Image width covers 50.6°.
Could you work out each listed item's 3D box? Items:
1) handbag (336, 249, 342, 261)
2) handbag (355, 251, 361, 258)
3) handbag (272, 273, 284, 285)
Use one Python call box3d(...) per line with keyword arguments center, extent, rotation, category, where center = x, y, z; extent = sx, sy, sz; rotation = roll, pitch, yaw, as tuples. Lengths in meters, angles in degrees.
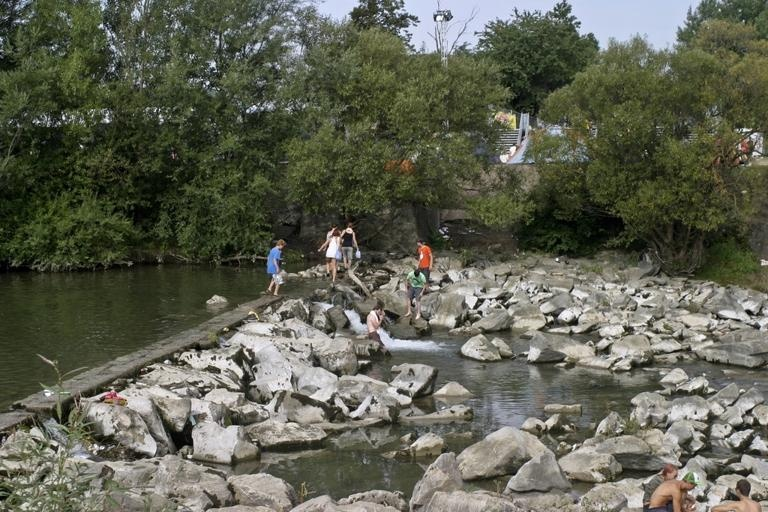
box3d(center=(-2.300, -0.157, 41.158), extent=(0.301, 0.793, 0.612), rotation=(2, 1, 4), category="handbag")
box3d(center=(-1.408, -0.143, 44.165), extent=(0.377, 0.370, 0.661), rotation=(-4, 2, 3), category="handbag")
box3d(center=(-4.731, 0.987, 36.343), extent=(0.484, 0.495, 0.407), rotation=(5, -4, -20), category="handbag")
